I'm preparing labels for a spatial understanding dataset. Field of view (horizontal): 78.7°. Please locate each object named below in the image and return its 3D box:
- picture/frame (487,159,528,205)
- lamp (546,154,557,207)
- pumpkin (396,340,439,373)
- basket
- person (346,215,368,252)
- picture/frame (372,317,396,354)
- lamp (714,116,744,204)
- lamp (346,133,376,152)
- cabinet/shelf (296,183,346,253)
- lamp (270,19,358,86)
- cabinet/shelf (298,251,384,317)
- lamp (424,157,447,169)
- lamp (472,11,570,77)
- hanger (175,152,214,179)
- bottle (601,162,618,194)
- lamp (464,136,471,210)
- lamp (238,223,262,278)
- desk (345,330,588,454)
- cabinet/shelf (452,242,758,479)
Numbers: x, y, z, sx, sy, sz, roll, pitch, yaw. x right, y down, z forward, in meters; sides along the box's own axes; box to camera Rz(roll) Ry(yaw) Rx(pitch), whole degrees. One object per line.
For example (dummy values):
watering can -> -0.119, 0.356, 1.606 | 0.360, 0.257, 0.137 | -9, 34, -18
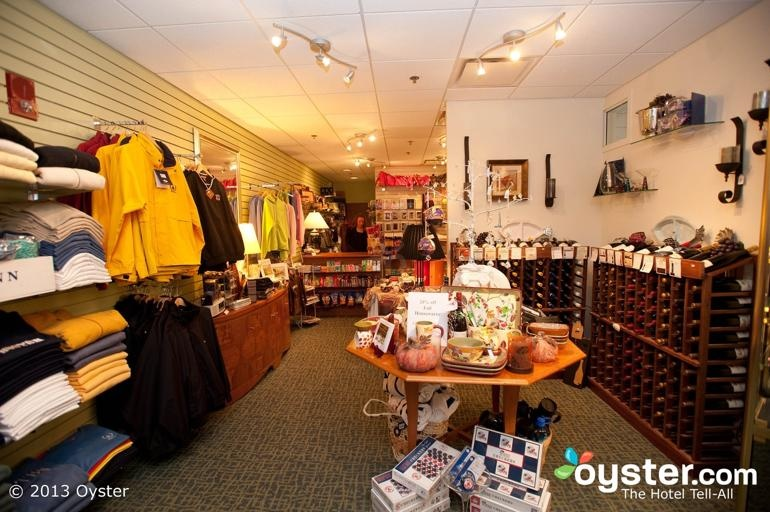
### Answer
picture/frame -> 1.620, -0.998, 6.173 | 0.737, 0.665, 0.085 | 0, 0, -2
lamp -> 2.170, -0.987, 6.167 | 0.143, 0.708, 0.193 | -1, 6, 19
pumpkin -> 0.264, 0.829, 3.872 | 0.284, 0.189, 0.276 | -3, 3, -32
basket -> 0.202, 1.627, 4.574 | 0.571, 0.250, 0.789 | 7, 12, 38
person -> -0.603, -0.481, 10.241 | 0.477, 0.767, 0.560 | -3, 6, -3
picture/frame -> -0.007, 0.714, 4.098 | 0.255, 0.286, 0.028 | 17, 1, 43
lamp -> 3.276, -0.906, 4.453 | 0.206, 0.811, 0.246 | 2, 7, 35
lamp -> -0.404, -1.999, 8.110 | 0.292, 0.101, 0.380 | 3, -13, -35
cabinet/shelf -> -1.420, -0.802, 10.422 | 0.665, 1.769, 1.969 | 0, 5, 10
lamp -> -0.710, -2.044, 4.811 | 0.929, 0.479, 0.585 | -5, 7, -24
cabinet/shelf -> -0.781, 0.548, 8.326 | 1.209, 0.833, 0.409 | -1, -4, -2
lamp -> 1.128, -2.090, 10.593 | 0.509, 0.156, 1.704 | -2, 6, 5
lamp -> 1.332, -2.119, 4.735 | 0.998, 0.237, 0.228 | -9, 1, 42
hanger -> -2.223, -1.054, 5.418 | 0.450, 0.152, 0.442 | -8, 19, -42
bottle -> 2.742, -0.962, 5.753 | 0.142, 0.373, 0.270 | 0, 7, 26
lamp -> 1.098, -1.157, 6.226 | 0.092, 0.873, 0.186 | -2, 6, 10
lamp -> -1.904, -0.087, 6.632 | 0.276, 0.747, 1.332 | -4, 6, -15
desk -> 0.706, 1.019, 4.094 | 1.322, 0.792, 1.354 | 1, 5, 7
cabinet/shelf -> 3.074, 1.024, 5.311 | 2.559, 1.287, 2.073 | 2, 6, 35
